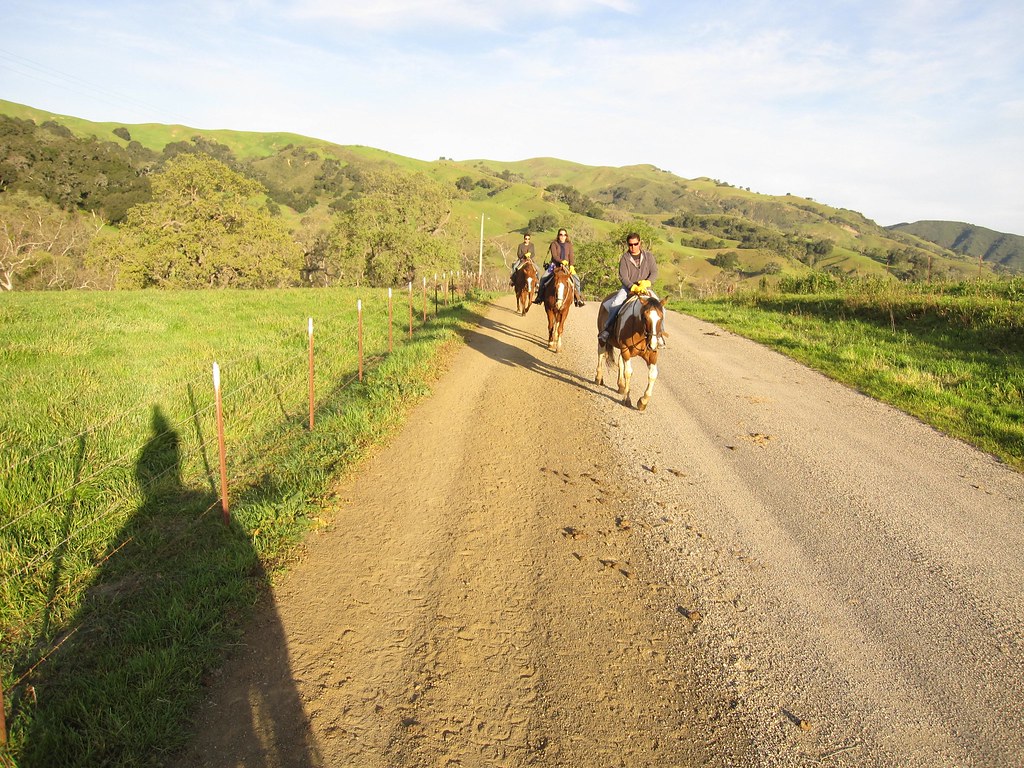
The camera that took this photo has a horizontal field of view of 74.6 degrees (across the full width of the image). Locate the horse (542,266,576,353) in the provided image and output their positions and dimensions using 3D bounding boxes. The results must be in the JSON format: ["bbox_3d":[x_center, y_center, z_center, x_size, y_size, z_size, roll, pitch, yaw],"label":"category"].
[{"bbox_3d":[1.581,-2.407,22.394,0.596,2.023,2.690,7,-2,4],"label":"horse"}]

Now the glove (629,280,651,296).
[{"bbox_3d":[3.188,-2.350,16.324,0.311,0.169,0.444,-5,14,28],"label":"glove"}]
